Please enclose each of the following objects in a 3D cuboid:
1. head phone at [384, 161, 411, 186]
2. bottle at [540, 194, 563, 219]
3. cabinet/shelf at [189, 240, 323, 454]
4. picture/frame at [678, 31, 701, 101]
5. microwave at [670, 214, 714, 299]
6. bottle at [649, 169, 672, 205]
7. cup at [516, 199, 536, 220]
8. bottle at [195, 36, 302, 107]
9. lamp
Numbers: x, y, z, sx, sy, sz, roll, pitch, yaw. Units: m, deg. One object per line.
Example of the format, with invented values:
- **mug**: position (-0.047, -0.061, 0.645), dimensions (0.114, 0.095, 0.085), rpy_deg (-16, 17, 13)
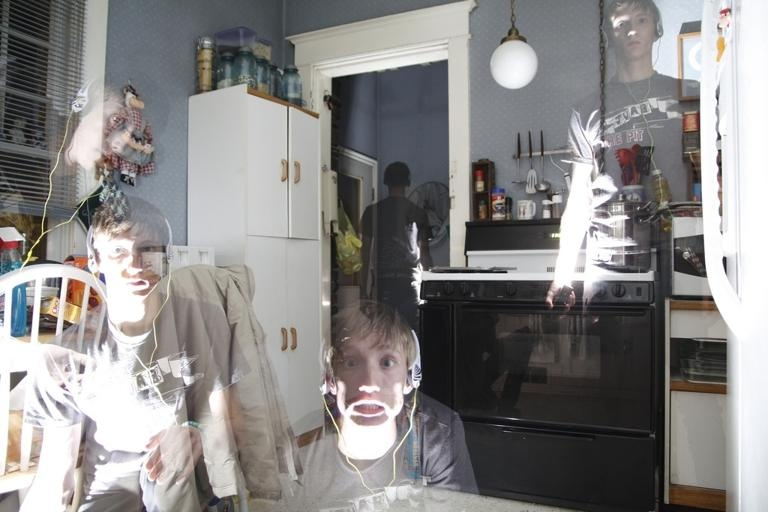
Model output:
- **head phone**: position (0.104, -0.665, 4.765), dimensions (0.171, 0.210, 0.221), rpy_deg (2, 13, 8)
- **bottle**: position (0.923, -0.274, 3.239), dimensions (0.113, 0.148, 0.213), rpy_deg (-1, 1, 18)
- **cabinet/shelf**: position (-0.582, 0.441, 3.337), dimensions (0.237, 0.845, 0.617), rpy_deg (0, 1, 42)
- **picture/frame**: position (1.605, -0.998, 3.095), dimensions (0.112, 0.356, 0.058), rpy_deg (-1, 1, 0)
- **microwave**: position (1.340, 0.002, 2.607), dimensions (0.176, 0.358, 0.169), rpy_deg (0, 1, 40)
- **bottle**: position (1.432, -0.365, 3.059), dimensions (0.092, 0.183, 0.180), rpy_deg (-1, 1, 26)
- **cup**: position (0.807, -0.261, 3.322), dimensions (0.101, 0.107, 0.095), rpy_deg (-1, 1, 0)
- **bottle**: position (-0.775, -0.880, 3.367), dimensions (0.344, 0.430, 0.621), rpy_deg (-2, -1, 28)
- **lamp**: position (0.619, -1.029, 2.822), dimensions (0.206, 0.432, 0.152), rpy_deg (-1, 1, 14)
